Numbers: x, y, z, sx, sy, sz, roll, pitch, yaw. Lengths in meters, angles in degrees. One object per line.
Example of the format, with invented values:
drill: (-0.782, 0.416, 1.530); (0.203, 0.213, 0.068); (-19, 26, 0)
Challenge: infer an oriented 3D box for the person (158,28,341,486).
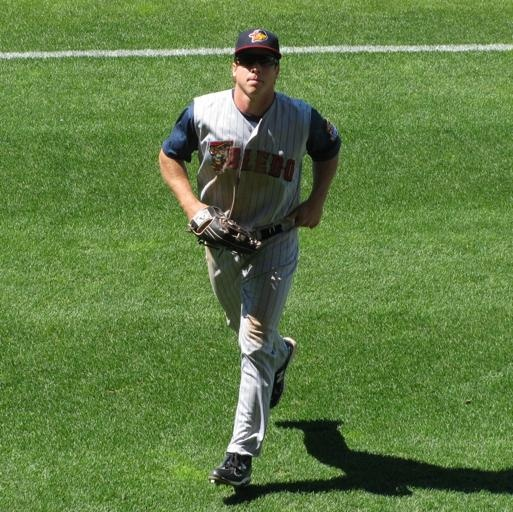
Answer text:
person: (-0.068, -0.048, 8.948); (1.179, 2.999, 0.914); (5, 13, 3)

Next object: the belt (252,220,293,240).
belt: (0.112, -0.185, 9.015); (0.148, 0.061, 0.198); (-18, 2, -41)

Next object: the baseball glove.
baseball glove: (-0.217, -0.183, 8.847); (0.439, 0.288, 0.211); (31, 42, 7)

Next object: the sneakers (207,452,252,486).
sneakers: (-0.157, 1.460, 8.860); (0.154, 0.273, 0.468); (-6, -11, 31)

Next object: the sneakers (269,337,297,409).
sneakers: (0.172, 0.814, 9.476); (0.158, 0.567, 0.197); (11, 4, 29)
